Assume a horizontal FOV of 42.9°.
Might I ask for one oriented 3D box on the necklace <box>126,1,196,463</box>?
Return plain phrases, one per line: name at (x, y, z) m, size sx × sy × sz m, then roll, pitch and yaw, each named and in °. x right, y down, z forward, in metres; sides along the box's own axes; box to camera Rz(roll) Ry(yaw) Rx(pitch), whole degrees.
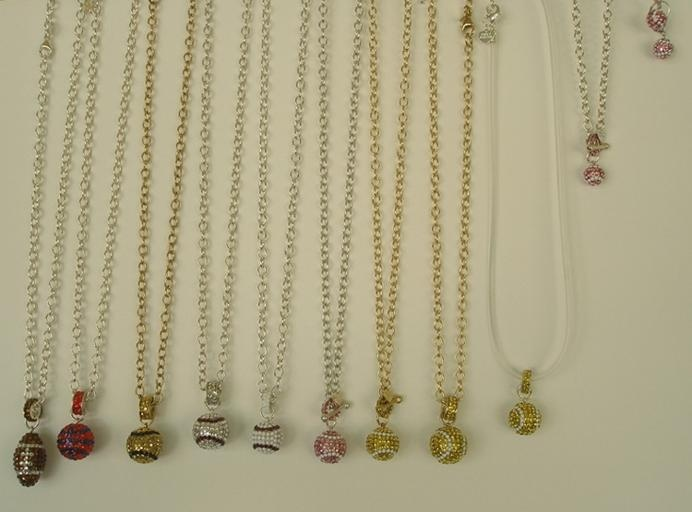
necklace at (-0.633, -0.083, 2.943) m, size 0.192 × 0.106 × 1.504 m, roll 3°, pitch -87°, yaw -7°
